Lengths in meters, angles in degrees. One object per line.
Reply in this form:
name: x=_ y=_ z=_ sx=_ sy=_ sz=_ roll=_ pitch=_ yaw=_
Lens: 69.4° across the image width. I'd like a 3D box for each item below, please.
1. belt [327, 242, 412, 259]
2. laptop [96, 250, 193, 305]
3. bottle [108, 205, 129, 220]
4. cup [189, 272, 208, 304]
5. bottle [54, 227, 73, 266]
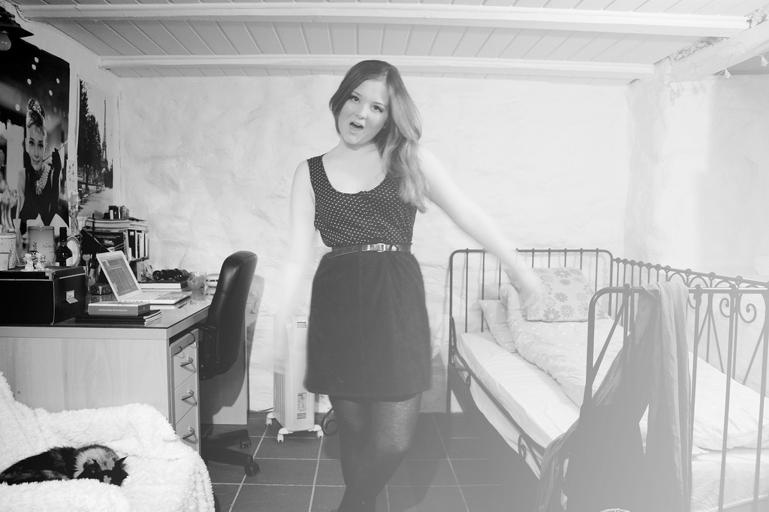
belt: x=-0.078 y=-0.036 z=2.736 sx=0.402 sy=0.058 sz=0.058 roll=0 pitch=1 yaw=-3
laptop: x=-1.365 y=0.159 z=3.133 sx=0.347 sy=0.229 sz=0.361 roll=2 pitch=6 yaw=-3
bottle: x=-1.545 y=-0.252 z=3.221 sx=0.103 sy=0.112 sz=0.069 roll=0 pitch=6 yaw=-4
cup: x=-1.094 y=0.185 z=3.274 sx=0.138 sy=0.242 sz=0.146 roll=1 pitch=3 yaw=0
bottle: x=-1.788 y=-0.061 z=3.088 sx=0.033 sy=0.210 sz=0.085 roll=0 pitch=1 yaw=29
